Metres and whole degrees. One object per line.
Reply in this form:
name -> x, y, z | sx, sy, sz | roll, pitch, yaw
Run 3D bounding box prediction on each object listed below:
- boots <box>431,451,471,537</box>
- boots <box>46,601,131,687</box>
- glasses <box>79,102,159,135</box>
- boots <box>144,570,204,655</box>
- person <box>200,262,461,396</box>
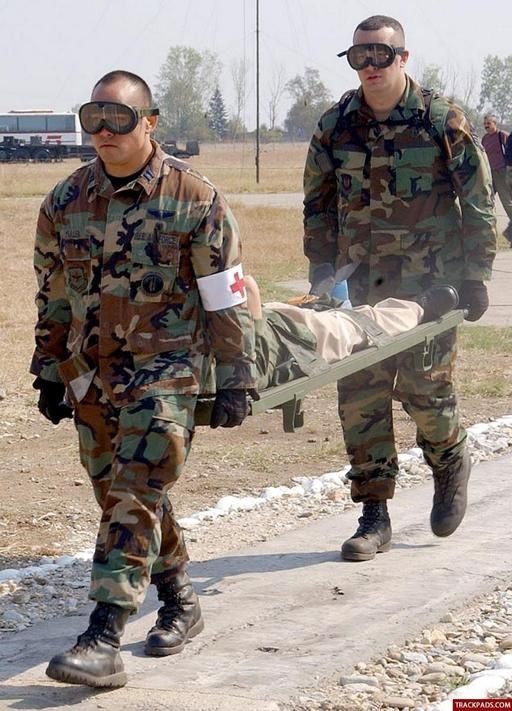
boots -> 0.893, 0.616, 3.825 | 0.160, 0.397, 0.189 | -5, -27, 43
boots -> -0.450, 0.784, 2.279 | 0.137, 0.221, 0.270 | -8, -27, 24
glasses -> -0.398, -0.688, 2.457 | 0.232, 0.109, 0.157 | -4, 3, -5
boots -> -0.276, 0.823, 2.697 | 0.117, 0.224, 0.283 | -7, 2, 19
person -> 0.345, -0.127, 3.129 | 0.830, 0.169, 0.520 | -7, 15, -30
